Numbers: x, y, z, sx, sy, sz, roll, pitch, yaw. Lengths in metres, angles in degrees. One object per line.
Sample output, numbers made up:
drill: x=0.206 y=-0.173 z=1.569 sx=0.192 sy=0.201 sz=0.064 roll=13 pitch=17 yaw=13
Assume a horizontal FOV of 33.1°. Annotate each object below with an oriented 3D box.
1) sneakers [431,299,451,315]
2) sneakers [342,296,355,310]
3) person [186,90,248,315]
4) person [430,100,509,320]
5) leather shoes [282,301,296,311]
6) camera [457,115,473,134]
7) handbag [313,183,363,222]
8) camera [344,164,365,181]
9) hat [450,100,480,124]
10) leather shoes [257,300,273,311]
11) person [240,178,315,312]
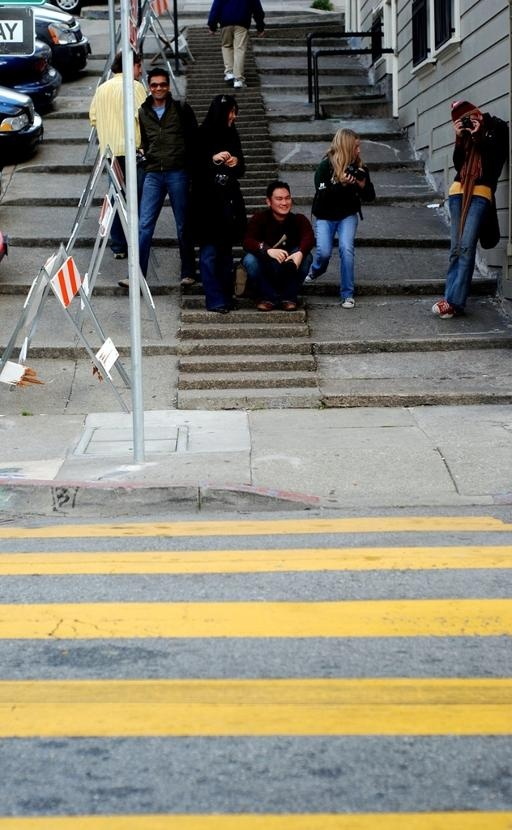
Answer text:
sneakers: x=1.819 y=-1.047 z=8.474 sx=0.104 sy=0.099 sz=0.231 roll=-43 pitch=-22 yaw=20
sneakers: x=0.930 y=-1.143 z=8.792 sx=0.140 sy=0.148 sz=0.378 roll=0 pitch=1 yaw=5
person: x=-0.368 y=-2.070 z=8.447 sx=0.531 sy=2.116 sz=0.569 roll=-1 pitch=9 yaw=-4
person: x=2.041 y=-1.965 z=8.339 sx=0.635 sy=2.049 sz=0.451 roll=2 pitch=9 yaw=16
leather shoes: x=0.311 y=-1.062 z=8.376 sx=0.084 sy=0.064 sz=0.222 roll=-2 pitch=6 yaw=0
camera: x=1.978 y=-2.748 z=8.158 sx=0.108 sy=0.147 sz=0.055 roll=-2 pitch=-1 yaw=13
handbag: x=0.812 y=-2.153 z=8.938 sx=0.533 sy=0.335 sz=0.644 roll=-1 pitch=-2 yaw=-18
camera: x=0.978 y=-2.457 z=8.700 sx=0.212 sy=0.173 sz=0.170 roll=-2 pitch=9 yaw=-10
hat: x=2.004 y=-2.926 z=8.190 sx=0.270 sy=0.186 sz=0.182 roll=-28 pitch=16 yaw=5
leather shoes: x=0.087 y=-1.066 z=8.398 sx=0.134 sy=0.083 sz=0.228 roll=-1 pitch=0 yaw=-1
person: x=0.183 y=-1.648 z=8.404 sx=0.761 sy=1.237 sz=0.557 roll=-2 pitch=9 yaw=-6
